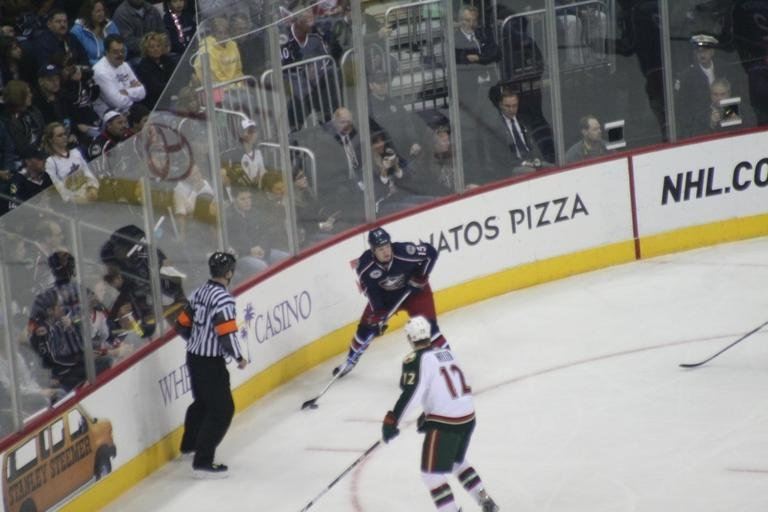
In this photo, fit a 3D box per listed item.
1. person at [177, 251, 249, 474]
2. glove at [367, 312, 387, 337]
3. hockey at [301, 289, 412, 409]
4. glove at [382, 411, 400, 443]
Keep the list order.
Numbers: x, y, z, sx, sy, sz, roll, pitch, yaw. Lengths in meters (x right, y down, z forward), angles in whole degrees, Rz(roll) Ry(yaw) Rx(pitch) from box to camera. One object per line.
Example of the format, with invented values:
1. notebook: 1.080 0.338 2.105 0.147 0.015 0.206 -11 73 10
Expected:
1. person: -1.575 1.000 11.900 0.607 2.071 0.764 -2 10 -28
2. glove: -0.061 0.698 12.983 0.086 0.232 0.171 9 -6 -40
3. hockey: -0.314 0.979 13.111 1.449 0.160 0.168 -49 5 -4
4. glove: 0.063 1.468 10.855 0.093 0.229 0.229 9 10 2
